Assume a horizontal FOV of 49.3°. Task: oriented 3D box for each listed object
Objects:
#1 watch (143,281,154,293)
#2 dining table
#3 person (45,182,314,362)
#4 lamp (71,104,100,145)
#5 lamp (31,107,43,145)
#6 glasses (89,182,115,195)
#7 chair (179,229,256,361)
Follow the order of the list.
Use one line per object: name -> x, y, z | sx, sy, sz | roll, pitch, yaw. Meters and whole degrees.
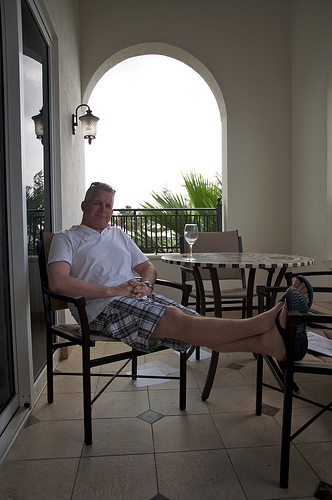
watch -> -0.089, 0.187, 1.857 | 0.060, 0.071, 0.044 | 0, -8, -11
dining table -> 0.307, 0.348, 2.114 | 0.544, 0.521, 0.565 | -3, -8, 14
person -> 0.006, 0.063, 1.702 | 1.202, 0.804, 0.624 | 1, 0, 34
lamp -> -0.777, -1.230, 3.560 | 0.234, 0.450, 0.207 | -2, -11, -9
lamp -> -0.782, -0.759, 2.218 | 0.058, 0.224, 0.090 | -1, -7, -29
glasses -> -0.365, -0.330, 2.034 | 0.083, 0.027, 0.085 | -7, -14, 39
chair -> 0.410, 0.276, 2.736 | 0.690, 0.810, 0.680 | 1, -4, -41
